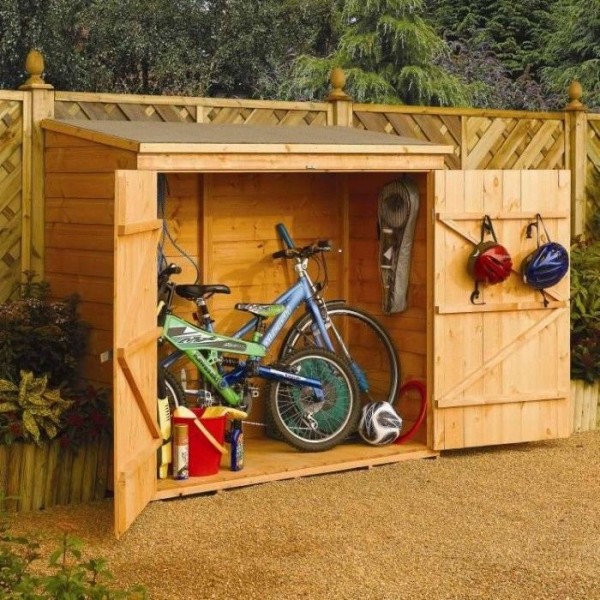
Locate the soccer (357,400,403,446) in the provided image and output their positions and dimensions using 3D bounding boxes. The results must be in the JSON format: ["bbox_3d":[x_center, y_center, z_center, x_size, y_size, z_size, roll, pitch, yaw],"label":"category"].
[{"bbox_3d":[0.552,0.846,5.925,0.285,0.307,0.280,-5,11,27],"label":"soccer"}]

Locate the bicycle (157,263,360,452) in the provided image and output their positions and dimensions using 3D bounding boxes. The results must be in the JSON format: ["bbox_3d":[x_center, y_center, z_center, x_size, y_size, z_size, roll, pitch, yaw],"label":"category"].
[{"bbox_3d":[-0.300,0.403,5.638,1.478,1.348,0.575,-2,7,-25],"label":"bicycle"}]

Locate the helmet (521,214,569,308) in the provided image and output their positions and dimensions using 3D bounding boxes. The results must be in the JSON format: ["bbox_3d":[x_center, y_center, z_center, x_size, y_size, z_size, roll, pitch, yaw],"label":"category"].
[{"bbox_3d":[1.753,-0.291,5.825,0.361,0.651,0.199,-2,7,-28],"label":"helmet"}]

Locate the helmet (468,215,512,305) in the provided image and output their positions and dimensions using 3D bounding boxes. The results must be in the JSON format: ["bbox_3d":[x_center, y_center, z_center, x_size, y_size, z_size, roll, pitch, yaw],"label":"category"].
[{"bbox_3d":[1.326,-0.282,5.669,0.306,0.609,0.257,-10,25,-5],"label":"helmet"}]

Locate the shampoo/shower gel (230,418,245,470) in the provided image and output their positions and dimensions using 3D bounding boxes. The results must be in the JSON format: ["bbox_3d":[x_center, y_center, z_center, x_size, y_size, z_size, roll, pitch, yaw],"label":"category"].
[{"bbox_3d":[-0.413,0.898,5.267,0.091,0.334,0.175,1,6,-5],"label":"shampoo/shower gel"}]

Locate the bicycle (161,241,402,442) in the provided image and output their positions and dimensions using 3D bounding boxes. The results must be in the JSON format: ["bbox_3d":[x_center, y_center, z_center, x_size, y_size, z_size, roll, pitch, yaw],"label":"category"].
[{"bbox_3d":[-0.286,0.392,6.206,0.689,1.429,2.489,28,-23,-38],"label":"bicycle"}]

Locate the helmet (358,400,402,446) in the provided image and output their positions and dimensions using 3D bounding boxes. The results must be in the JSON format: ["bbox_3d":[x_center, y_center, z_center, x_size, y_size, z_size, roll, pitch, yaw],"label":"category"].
[{"bbox_3d":[0.577,0.858,5.960,0.357,0.376,0.347,-1,12,-8],"label":"helmet"}]

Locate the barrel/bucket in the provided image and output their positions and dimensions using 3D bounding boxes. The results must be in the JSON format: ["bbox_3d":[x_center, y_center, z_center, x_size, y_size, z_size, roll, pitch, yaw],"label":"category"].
[{"bbox_3d":[-0.625,0.841,5.105,0.421,0.345,0.408,2,1,0],"label":"barrel/bucket"}]
